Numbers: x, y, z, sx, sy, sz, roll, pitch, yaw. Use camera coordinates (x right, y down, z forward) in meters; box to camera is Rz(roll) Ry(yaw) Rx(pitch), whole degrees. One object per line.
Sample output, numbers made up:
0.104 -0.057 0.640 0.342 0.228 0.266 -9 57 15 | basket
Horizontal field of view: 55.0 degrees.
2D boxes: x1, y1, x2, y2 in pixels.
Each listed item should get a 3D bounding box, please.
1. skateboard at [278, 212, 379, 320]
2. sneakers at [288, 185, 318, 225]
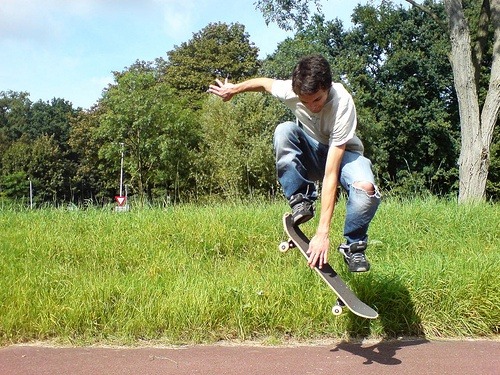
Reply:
0.987 1.049 6.101 0.246 1.413 0.346 -40 -10 24 | skateboard
0.703 0.190 6.082 0.207 0.286 0.628 -33 8 26 | sneakers
